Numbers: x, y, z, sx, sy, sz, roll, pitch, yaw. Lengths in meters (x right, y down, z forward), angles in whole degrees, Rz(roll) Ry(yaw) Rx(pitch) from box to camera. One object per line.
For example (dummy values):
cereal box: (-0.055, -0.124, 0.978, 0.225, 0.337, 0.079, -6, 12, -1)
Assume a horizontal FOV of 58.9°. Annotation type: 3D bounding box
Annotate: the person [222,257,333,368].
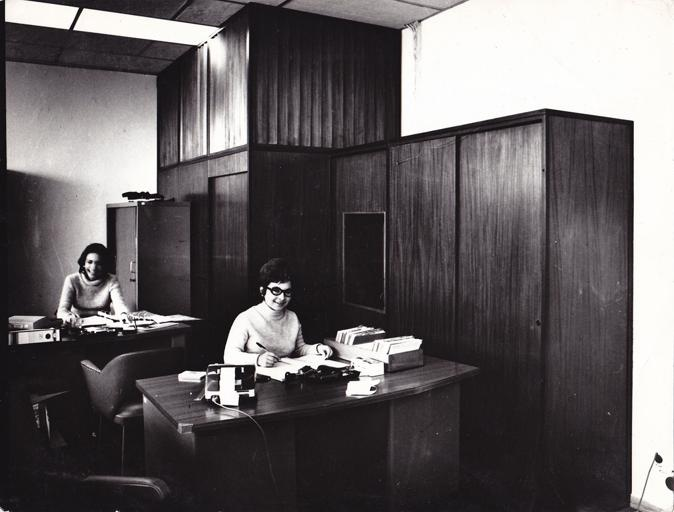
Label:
person: (-0.438, 0.411, 4.396, 0.778, 0.733, 0.538, 2, 3, -42)
